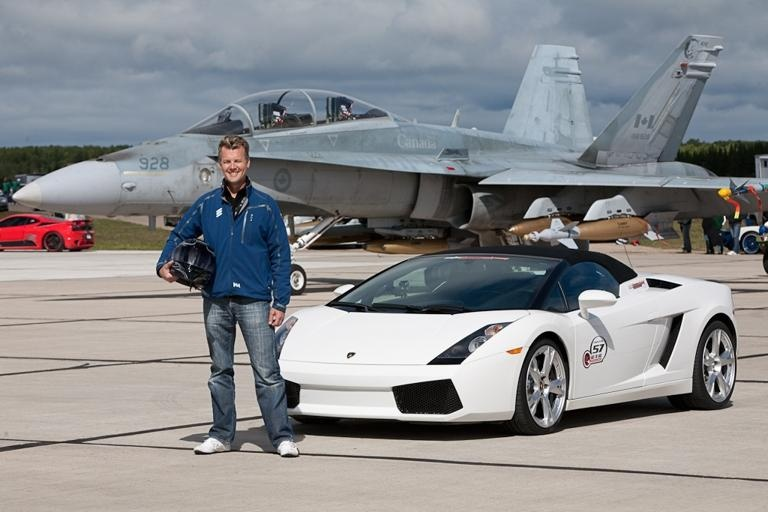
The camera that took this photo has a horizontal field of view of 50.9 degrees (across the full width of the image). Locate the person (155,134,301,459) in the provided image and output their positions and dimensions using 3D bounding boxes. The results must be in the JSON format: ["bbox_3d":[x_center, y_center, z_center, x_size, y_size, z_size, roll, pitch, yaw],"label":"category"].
[{"bbox_3d":[-1.211,0.310,6.528,1.267,2.551,0.718,3,9,8],"label":"person"}]

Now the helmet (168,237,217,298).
[{"bbox_3d":[-1.521,0.068,6.635,0.368,0.351,0.438,26,1,-14],"label":"helmet"}]

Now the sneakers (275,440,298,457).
[{"bbox_3d":[-0.765,1.513,6.379,0.190,0.133,0.187,1,7,-3],"label":"sneakers"}]

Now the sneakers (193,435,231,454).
[{"bbox_3d":[-1.356,1.516,6.449,0.297,0.094,0.118,8,-10,-42],"label":"sneakers"}]

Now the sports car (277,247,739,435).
[{"bbox_3d":[1.123,0.718,7.696,4.208,1.537,1.769,-2,8,-27],"label":"sports car"}]

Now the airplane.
[{"bbox_3d":[1.048,-2.308,20.728,11.760,2.721,9.180,-1,2,-22],"label":"airplane"}]
